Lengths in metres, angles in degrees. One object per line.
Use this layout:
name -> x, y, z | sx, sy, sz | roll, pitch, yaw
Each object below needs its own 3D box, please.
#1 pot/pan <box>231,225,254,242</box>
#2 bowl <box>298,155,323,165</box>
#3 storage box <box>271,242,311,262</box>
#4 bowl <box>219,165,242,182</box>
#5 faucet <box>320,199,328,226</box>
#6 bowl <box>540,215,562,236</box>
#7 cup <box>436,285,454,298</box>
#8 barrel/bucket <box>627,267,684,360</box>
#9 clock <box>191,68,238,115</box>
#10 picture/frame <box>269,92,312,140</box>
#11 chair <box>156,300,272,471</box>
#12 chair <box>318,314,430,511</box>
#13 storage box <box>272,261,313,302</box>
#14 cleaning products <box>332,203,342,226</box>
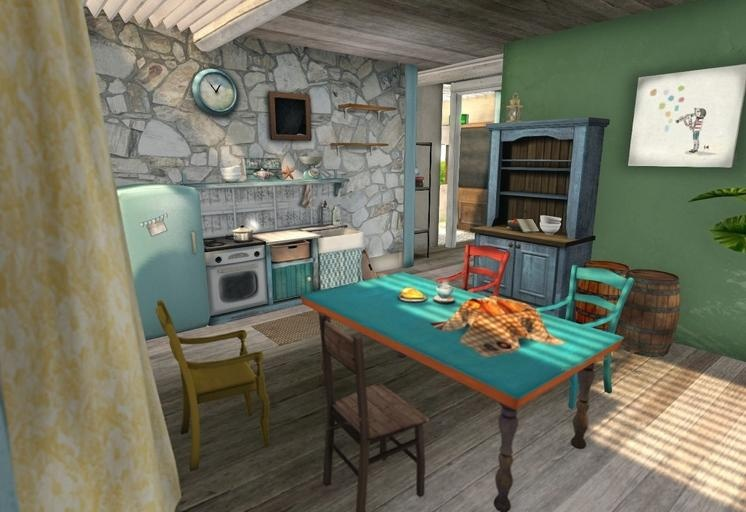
pot/pan -> -1.518, -0.257, 5.113 | 0.220, 0.175, 0.213 | -2, 3, -20
bowl -> -0.832, -1.239, 5.676 | 0.273, 0.126, 0.165 | -2, 13, 3
storage box -> -0.982, -0.046, 5.215 | 0.329, 0.113, 0.250 | -7, 10, -37
bowl -> -1.649, -0.941, 5.016 | 0.203, 0.146, 0.210 | 0, 3, 0
faucet -> -0.672, -0.608, 6.103 | 0.075, 0.326, 0.194 | 4, 15, 26
bowl -> 2.029, -0.341, 5.017 | 0.228, 0.213, 0.235 | 2, 12, 0
cup -> 0.543, 0.270, 3.298 | 0.113, 0.072, 0.088 | 0, 7, -4
barrel/bucket -> 2.597, 0.584, 4.117 | 0.441, 0.810, 0.195 | 4, 15, 26
clock -> -1.776, -1.859, 4.939 | 0.530, 0.516, 0.077 | -16, 29, -39
picture/frame -> -1.047, -1.782, 5.589 | 0.597, 0.555, 0.062 | 10, 24, 19
chair -> -1.096, 0.794, 3.118 | 0.642, 1.096, 0.658 | -8, 14, -22
chair -> -0.006, 0.902, 2.673 | 0.675, 1.155, 0.596 | -5, 14, -8
storage box -> -0.989, 0.286, 5.196 | 0.452, 0.411, 0.259 | -5, 14, -31
cleaning products -> -0.507, -0.583, 6.201 | 0.094, 0.272, 0.255 | 2, 14, 20
